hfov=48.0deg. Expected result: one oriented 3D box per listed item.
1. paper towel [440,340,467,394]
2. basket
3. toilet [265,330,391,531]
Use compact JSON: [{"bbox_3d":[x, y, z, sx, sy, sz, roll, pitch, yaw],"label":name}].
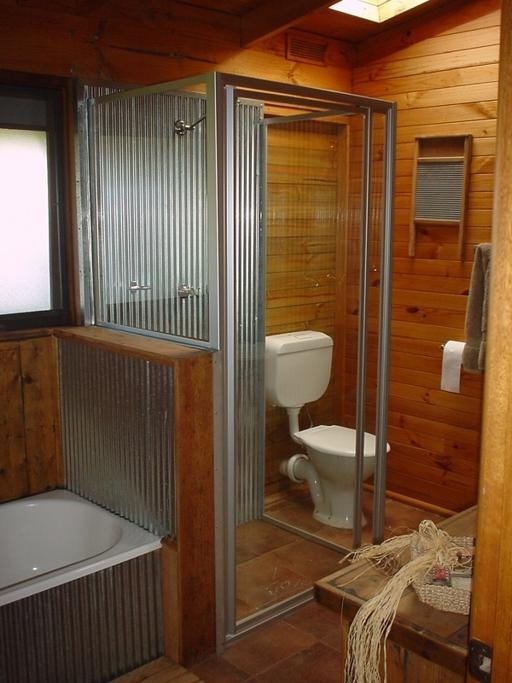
[{"bbox_3d":[1.004,0.139,2.960,0.100,0.297,0.229,3,13,17],"label":"paper towel"},{"bbox_3d":[0.365,0.429,1.117,0.118,0.054,0.155,-1,5,20],"label":"basket"},{"bbox_3d":[0.289,0.334,2.265,0.356,0.703,0.524,-9,11,-43],"label":"toilet"}]
